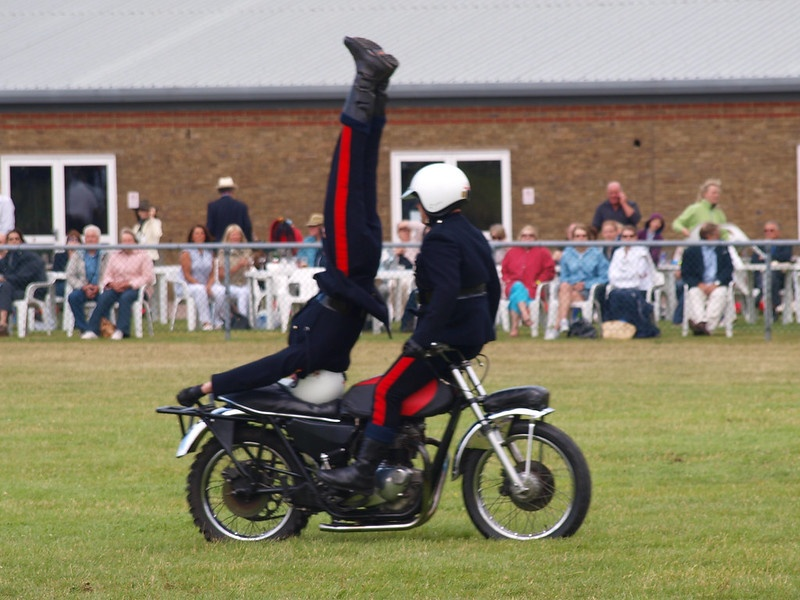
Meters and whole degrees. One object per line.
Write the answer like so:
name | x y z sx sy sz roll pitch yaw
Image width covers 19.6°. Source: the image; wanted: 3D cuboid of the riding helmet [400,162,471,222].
riding helmet | 0.411 -1.246 26.021 0.685 0.548 0.536 5 6 18

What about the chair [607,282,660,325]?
chair | 3.203 -0.007 32.560 0.612 0.470 0.487 3 13 20

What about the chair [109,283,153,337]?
chair | -3.814 0.175 32.796 0.655 1.054 0.633 1 -1 -10

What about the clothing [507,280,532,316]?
clothing | 1.625 -0.032 32.490 0.302 0.417 0.168 13 7 6

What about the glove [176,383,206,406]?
glove | -2.350 1.048 25.784 0.270 0.132 0.211 -8 36 -2

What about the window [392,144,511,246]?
window | 0.717 -1.543 33.276 2.020 1.762 0.133 0 -3 -3

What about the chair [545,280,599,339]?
chair | 2.308 0.151 32.501 0.757 0.977 0.727 3 -2 -33

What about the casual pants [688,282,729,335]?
casual pants | 4.271 0.120 32.545 0.525 0.689 0.271 2 -2 13

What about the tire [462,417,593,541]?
tire | 1.370 2.035 25.790 1.309 1.366 0.449 1 1 8

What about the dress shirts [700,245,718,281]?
dress shirts | 4.306 -0.509 32.719 0.103 0.447 0.307 7 -9 -26

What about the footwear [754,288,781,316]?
footwear | 5.221 0.043 32.976 0.385 0.409 0.798 1 -2 9

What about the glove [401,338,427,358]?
glove | 0.142 0.532 25.589 0.251 0.214 0.127 1 -2 -7

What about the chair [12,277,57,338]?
chair | -5.360 0.117 33.371 0.727 1.025 0.736 1 0 -4

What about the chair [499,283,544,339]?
chair | 1.722 0.123 32.631 0.716 0.936 0.647 2 0 -10

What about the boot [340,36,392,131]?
boot | -0.355 -2.441 25.882 0.599 0.974 0.308 1 -2 -1

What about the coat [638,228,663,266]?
coat | 3.577 -0.749 33.458 0.383 0.634 1.133 2 -13 5

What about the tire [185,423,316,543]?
tire | -1.657 2.021 25.819 1.255 1.303 0.466 1 1 6
